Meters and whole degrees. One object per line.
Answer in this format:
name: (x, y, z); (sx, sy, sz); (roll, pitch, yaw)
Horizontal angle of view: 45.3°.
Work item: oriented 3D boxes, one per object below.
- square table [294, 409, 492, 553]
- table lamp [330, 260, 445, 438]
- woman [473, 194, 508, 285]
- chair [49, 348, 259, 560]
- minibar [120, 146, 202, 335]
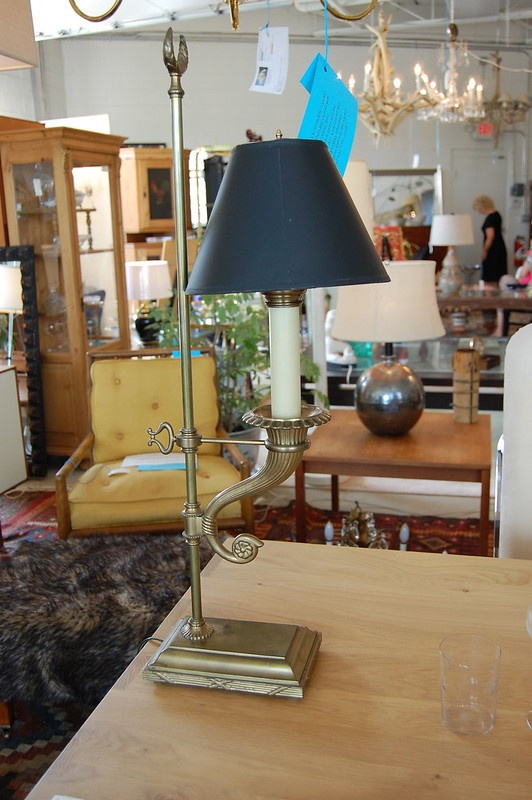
square table: (0.525, 0.185, 2.570); (0.623, 0.465, 0.647); (1, 12, 10)
table lamp: (0.476, -0.187, 2.497); (0.460, 0.648, 0.441); (-6, 7, -26)
woman: (3.083, -2.183, 8.771); (0.368, 1.263, 1.652); (-3, 9, 19)
chair: (-0.487, 0.259, 2.916); (0.743, 0.819, 0.913); (-2, 14, -8)
minibar: (-1.507, -2.170, 8.763); (0.568, 2.357, 1.005); (19, 28, 32)
